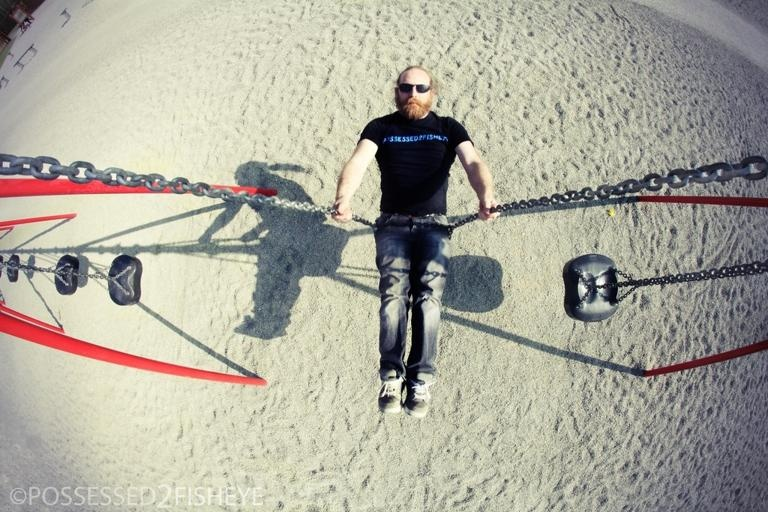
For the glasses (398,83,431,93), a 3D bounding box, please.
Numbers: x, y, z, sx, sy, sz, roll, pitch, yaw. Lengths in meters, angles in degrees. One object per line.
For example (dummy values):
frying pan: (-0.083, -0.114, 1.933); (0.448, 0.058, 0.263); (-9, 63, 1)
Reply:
glasses: (0.497, -2.692, 15.083); (0.512, 0.149, 0.118); (7, 53, -6)
